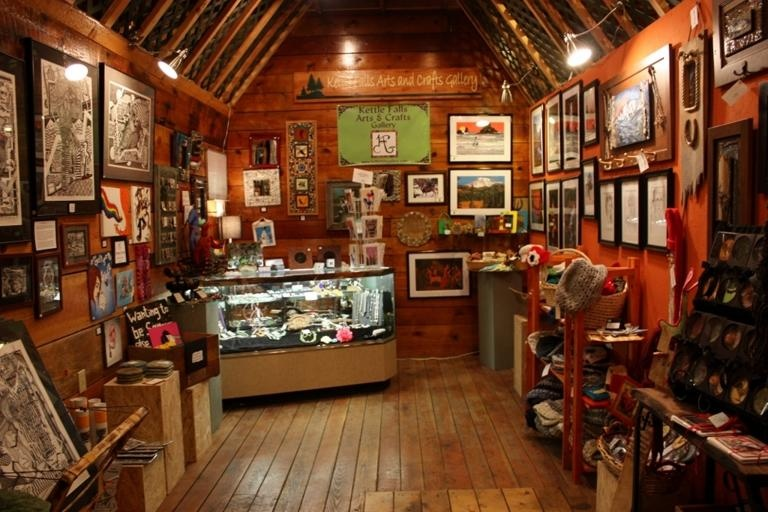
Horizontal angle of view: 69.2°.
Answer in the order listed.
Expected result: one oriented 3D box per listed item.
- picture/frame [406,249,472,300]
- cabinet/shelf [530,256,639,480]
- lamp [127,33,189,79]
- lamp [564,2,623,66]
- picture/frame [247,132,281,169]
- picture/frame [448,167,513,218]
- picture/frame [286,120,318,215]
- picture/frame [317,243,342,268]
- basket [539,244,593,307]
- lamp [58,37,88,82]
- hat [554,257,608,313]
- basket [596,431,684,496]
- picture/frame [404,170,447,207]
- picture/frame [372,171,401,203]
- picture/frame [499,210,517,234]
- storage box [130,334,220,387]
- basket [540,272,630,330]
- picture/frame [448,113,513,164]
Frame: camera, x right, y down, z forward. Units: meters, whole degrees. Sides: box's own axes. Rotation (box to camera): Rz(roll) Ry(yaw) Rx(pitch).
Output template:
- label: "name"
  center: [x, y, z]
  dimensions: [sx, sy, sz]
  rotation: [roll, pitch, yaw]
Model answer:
- label: "picture/frame"
  center: [0.704, 0.229, 7.163]
  dimensions: [0.602, 0.471, 0.033]
  rotation: [-1, 3, 0]
- label: "cabinet/shelf"
  center: [1.632, 0.930, 4.433]
  dimensions: [0.484, 1.620, 1.599]
  rotation: [0, 4, 2]
- label: "lamp"
  center: [-1.811, -1.644, 4.652]
  dimensions: [0.562, 0.284, 0.205]
  rotation: [37, -11, 31]
- label: "lamp"
  center: [1.806, -1.902, 4.897]
  dimensions: [0.600, 0.309, 0.201]
  rotation: [-35, 15, 35]
- label: "picture/frame"
  center: [-1.518, -1.333, 6.996]
  dimensions: [0.429, 0.472, 0.064]
  rotation: [0, 2, -3]
- label: "picture/frame"
  center: [1.218, -0.826, 7.128]
  dimensions: [0.622, 0.468, 0.024]
  rotation: [0, -1, -5]
- label: "picture/frame"
  center: [-1.033, -1.090, 7.035]
  dimensions: [0.382, 1.178, 0.167]
  rotation: [-2, 9, -9]
- label: "picture/frame"
  center: [-0.623, 0.006, 6.279]
  dimensions: [0.247, 0.260, 0.060]
  rotation: [-5, 1, -15]
- label: "basket"
  center: [1.607, 0.181, 5.186]
  dimensions: [0.562, 0.583, 0.493]
  rotation: [-1, 4, -1]
- label: "lamp"
  center: [-2.163, -1.361, 3.871]
  dimensions: [0.156, 0.299, 0.313]
  rotation: [-6, 10, -27]
- label: "hat"
  center: [1.555, 0.231, 4.301]
  dimensions: [0.397, 0.404, 0.187]
  rotation: [-4, 10, -18]
- label: "basket"
  center: [1.641, 1.372, 3.666]
  dimensions: [0.493, 0.235, 0.628]
  rotation: [-1, -2, 5]
- label: "picture/frame"
  center: [0.542, -0.875, 7.112]
  dimensions: [0.415, 0.366, 0.031]
  rotation: [-1, 5, -2]
- label: "picture/frame"
  center: [0.021, -0.859, 6.853]
  dimensions: [0.465, 0.489, 0.062]
  rotation: [0, -1, -4]
- label: "picture/frame"
  center: [1.596, -0.427, 7.091]
  dimensions: [0.266, 0.364, 0.114]
  rotation: [0, -8, 11]
- label: "storage box"
  center: [-1.674, 0.864, 4.719]
  dimensions: [0.439, 0.278, 0.437]
  rotation: [-1, 1, -9]
- label: "basket"
  center: [1.649, 0.353, 4.457]
  dimensions: [0.493, 0.238, 0.583]
  rotation: [1, 7, 19]
- label: "picture/frame"
  center: [1.219, -1.516, 7.085]
  dimensions: [0.605, 0.456, 0.025]
  rotation: [0, 0, -3]
